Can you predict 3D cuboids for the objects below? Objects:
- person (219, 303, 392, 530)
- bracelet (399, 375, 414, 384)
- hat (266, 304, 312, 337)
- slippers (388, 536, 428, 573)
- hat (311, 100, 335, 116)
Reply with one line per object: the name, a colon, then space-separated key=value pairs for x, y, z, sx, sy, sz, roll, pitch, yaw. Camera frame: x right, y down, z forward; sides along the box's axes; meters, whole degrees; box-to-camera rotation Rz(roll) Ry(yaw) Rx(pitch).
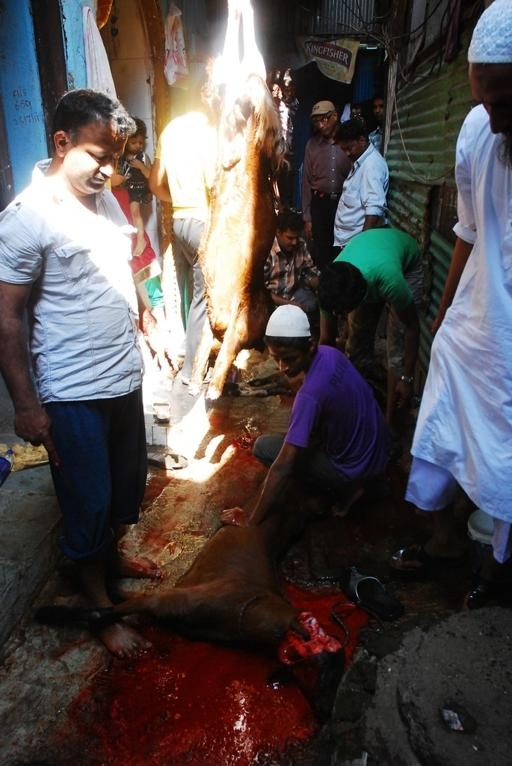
person: x=0.255 y=0.182 z=2.439 sx=0.850 sy=1.082 sz=0.336 roll=-22 pitch=29 yaw=-39
bracelet: x=0.842 y=-0.028 z=2.962 sx=0.045 sy=0.021 sz=0.058 roll=5 pitch=-19 yaw=31
hat: x=0.141 y=-0.278 z=2.274 sx=0.133 sy=0.119 sz=0.181 roll=0 pitch=15 yaw=1
slippers: x=0.636 y=0.731 z=2.190 sx=0.068 sy=0.069 sz=0.167 roll=12 pitch=-14 yaw=-38
hat: x=0.737 y=-3.039 z=5.812 sx=0.267 sy=0.179 sz=0.340 roll=0 pitch=22 yaw=7
